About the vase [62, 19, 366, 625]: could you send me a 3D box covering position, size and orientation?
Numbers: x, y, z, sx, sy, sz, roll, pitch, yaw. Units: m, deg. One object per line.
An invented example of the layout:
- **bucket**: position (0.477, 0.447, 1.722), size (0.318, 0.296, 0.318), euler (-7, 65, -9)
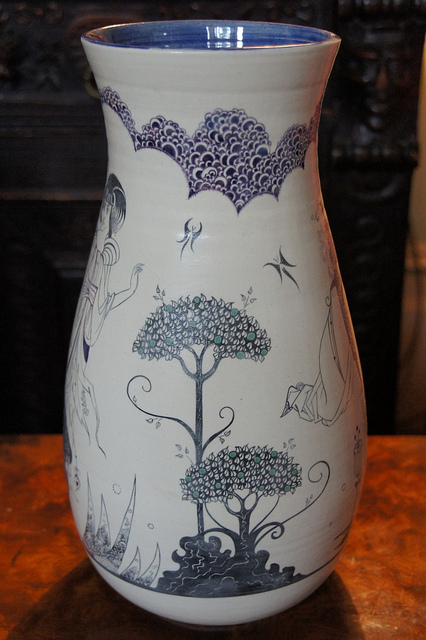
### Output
- **vase**: position (0.014, 0.009, 0.426), size (0.196, 0.306, 0.183), euler (-5, 14, -13)
